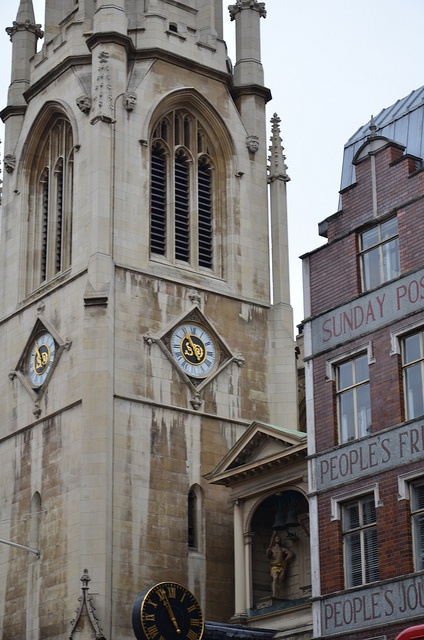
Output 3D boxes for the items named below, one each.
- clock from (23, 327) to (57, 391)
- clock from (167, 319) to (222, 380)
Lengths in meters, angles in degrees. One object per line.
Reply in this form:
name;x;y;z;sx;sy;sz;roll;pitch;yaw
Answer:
clock;-5.669;1.258;68.593;0.418;2.166;2.172;5;-22;-19
clock;-0.626;0.891;68.469;1.771;1.995;0.156;13;-29;-21
